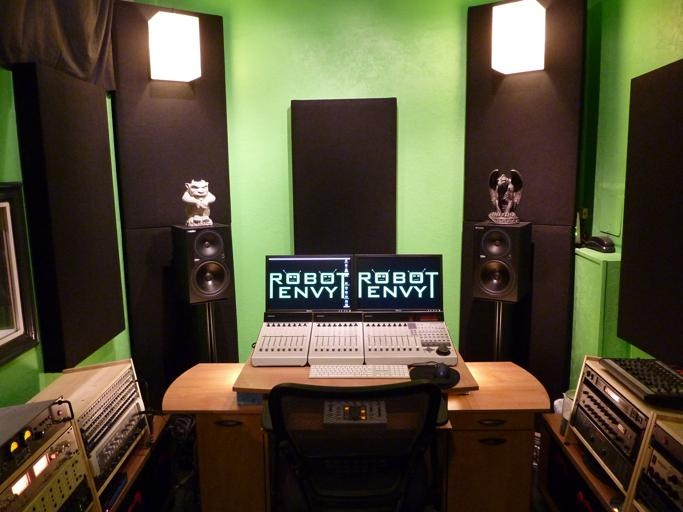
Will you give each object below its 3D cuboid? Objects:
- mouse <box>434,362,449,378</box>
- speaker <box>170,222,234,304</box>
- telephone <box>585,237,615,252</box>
[{"bbox_3d":[0.508,0.575,2.822,0.061,0.053,0.081,0,9,12],"label":"mouse"},{"bbox_3d":[-0.855,0.043,3.448,0.335,0.463,0.172,-3,9,-12],"label":"speaker"},{"bbox_3d":[1.636,-0.081,3.493,0.138,0.083,0.257,-1,9,5],"label":"telephone"}]
